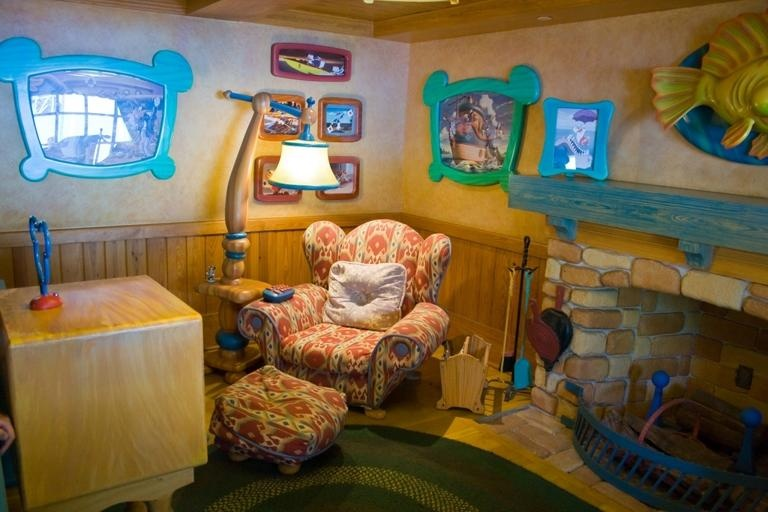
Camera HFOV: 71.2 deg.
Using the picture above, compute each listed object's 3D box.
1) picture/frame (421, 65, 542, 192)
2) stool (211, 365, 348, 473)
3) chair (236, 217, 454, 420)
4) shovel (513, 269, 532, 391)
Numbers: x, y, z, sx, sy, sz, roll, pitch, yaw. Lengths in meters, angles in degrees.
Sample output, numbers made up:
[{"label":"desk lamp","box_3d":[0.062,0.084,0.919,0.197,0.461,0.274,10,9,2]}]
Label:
[{"label":"picture/frame","box_3d":[0.767,-1.068,4.518,0.074,0.944,1.234,-13,21,-36]},{"label":"stool","box_3d":[-0.625,0.979,3.266,0.615,0.266,0.599,17,16,13]},{"label":"chair","box_3d":[-0.201,0.393,4.173,1.481,1.101,1.132,6,16,23]},{"label":"shovel","box_3d":[1.119,0.577,4.184,0.150,0.957,0.377,5,9,16]}]
